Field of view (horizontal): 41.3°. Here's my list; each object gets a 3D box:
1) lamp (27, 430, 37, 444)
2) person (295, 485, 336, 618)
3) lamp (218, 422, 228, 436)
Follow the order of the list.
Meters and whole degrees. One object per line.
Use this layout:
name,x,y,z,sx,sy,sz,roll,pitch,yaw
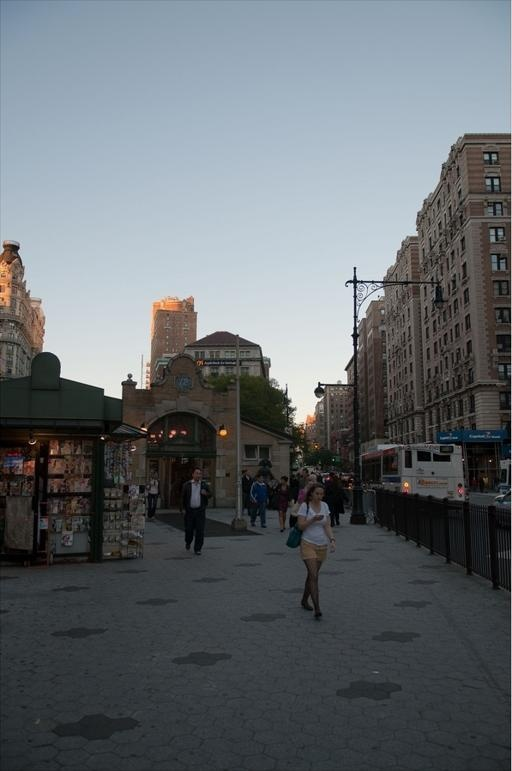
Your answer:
lamp,-4.226,0.963,12.805,0.201,0.226,0.206,-1,-33,-13
person,0.744,2.019,8.524,0.449,1.581,0.992,-1,-7,5
lamp,-1.779,2.318,35.812,0.554,1.057,0.522,0,-3,-23
